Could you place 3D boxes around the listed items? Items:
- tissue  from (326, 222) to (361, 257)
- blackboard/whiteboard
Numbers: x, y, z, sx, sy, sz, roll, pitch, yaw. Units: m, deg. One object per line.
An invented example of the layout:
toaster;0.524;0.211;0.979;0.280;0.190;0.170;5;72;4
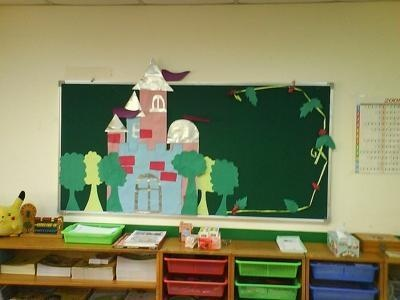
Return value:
tissue ;1.106;0.727;3.295;0.188;0.182;0.254;1;-1;0
blackboard/whiteboard;-0.050;-0.024;3.484;2.286;0.994;0.032;1;0;3
